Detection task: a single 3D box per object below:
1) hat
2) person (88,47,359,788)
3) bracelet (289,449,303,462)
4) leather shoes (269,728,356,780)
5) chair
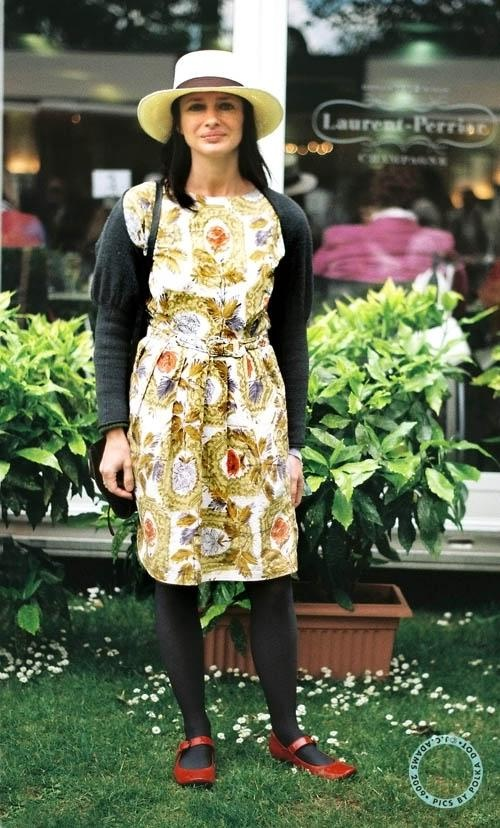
[{"bbox_3d":[-0.076,-0.763,1.871,0.326,0.159,0.320,8,16,24],"label":"hat"},{"bbox_3d":[-0.069,0.037,1.908,0.609,1.709,0.287,0,2,-11],"label":"person"},{"bbox_3d":[0.108,0.096,1.997,0.038,0.040,0.027,-4,5,-3],"label":"bracelet"},{"bbox_3d":[0.143,0.841,2.022,0.228,0.083,0.082,8,4,22],"label":"leather shoes"},{"bbox_3d":[0.559,-0.104,2.821,0.340,0.419,0.444,-4,8,27],"label":"chair"}]
